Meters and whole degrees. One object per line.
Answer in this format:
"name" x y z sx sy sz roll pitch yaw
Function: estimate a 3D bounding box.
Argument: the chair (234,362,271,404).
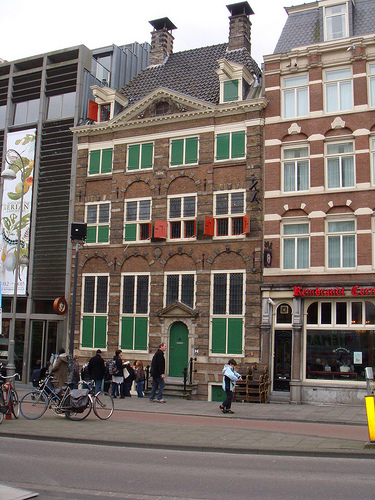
"chair" 2.303 5.223 23.863 1.349 1.458 1.612 -2 -15 11

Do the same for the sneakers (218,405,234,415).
"sneakers" 1.087 4.852 18.553 0.582 0.219 0.184 19 -7 -2

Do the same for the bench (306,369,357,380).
"bench" 5.515 4.787 23.558 2.384 0.375 0.466 -6 -13 31

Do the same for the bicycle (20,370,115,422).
"bicycle" -3.322 4.001 16.529 2.318 1.095 0.942 0 -10 8

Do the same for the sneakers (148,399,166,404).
"sneakers" -1.070 5.373 21.756 0.591 0.229 0.186 1 -7 -3
